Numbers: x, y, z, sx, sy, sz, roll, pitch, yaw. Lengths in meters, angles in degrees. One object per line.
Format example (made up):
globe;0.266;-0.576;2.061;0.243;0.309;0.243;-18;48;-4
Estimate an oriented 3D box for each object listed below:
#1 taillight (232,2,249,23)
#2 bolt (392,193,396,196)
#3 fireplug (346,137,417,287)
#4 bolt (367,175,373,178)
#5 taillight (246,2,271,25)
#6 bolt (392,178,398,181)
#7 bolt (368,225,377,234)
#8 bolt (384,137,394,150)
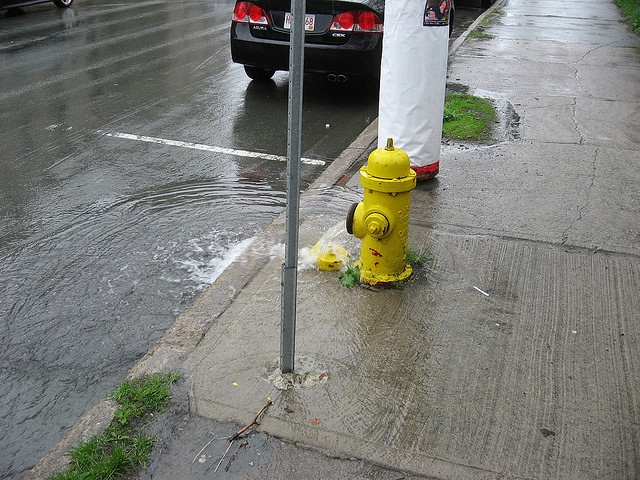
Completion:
taillight;-1.346;-3.856;8.614;0.244;0.375;0.130;7;9;22
bolt;0.564;-0.356;3.889;0.020;0.021;0.005;14;11;8
fireplug;0.502;-0.221;3.983;0.571;1.092;0.452;9;29;11
bolt;0.386;-0.498;3.916;0.038;0.018;0.020;24;36;32
taillight;-1.023;-3.752;8.455;0.484;0.303;0.065;20;33;27
bolt;0.574;-0.465;3.861;0.040;0.013;0.023;-7;32;-18
bolt;0.409;-0.088;3.898;0.057;0.064;0.022;5;29;2
bolt;0.532;-0.748;3.920;0.076;0.091;0.077;-19;31;-32
